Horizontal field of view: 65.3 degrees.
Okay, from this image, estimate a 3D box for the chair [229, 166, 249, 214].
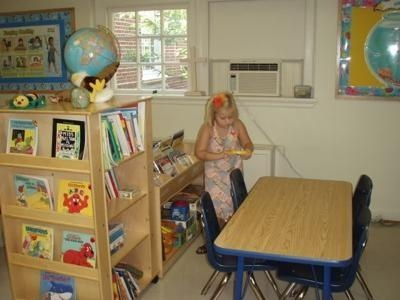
[{"bbox_3d":[0.344,0.380,2.864,0.152,0.401,0.177,6,17,15],"label":"chair"}]
